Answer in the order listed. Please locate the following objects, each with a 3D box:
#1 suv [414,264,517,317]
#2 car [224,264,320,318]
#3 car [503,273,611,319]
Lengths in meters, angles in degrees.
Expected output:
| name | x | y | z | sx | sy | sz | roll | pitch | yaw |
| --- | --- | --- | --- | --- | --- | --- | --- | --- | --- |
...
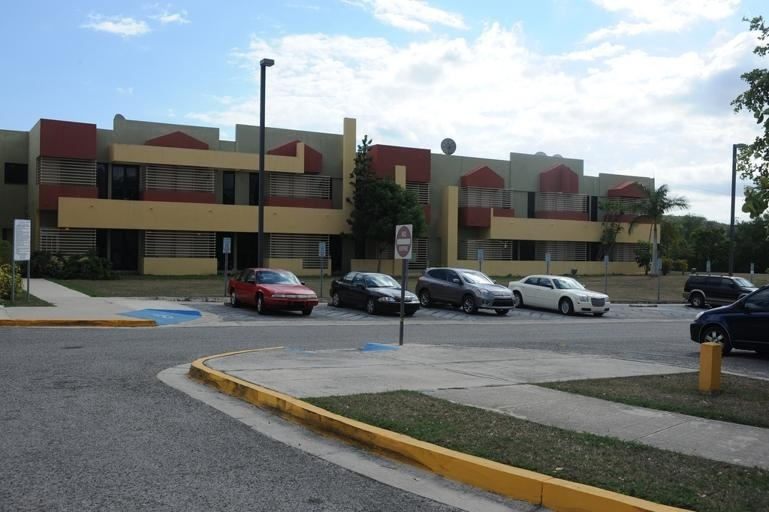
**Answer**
| name | x | y | z | sx | sy | sz | roll | pitch | yaw |
| --- | --- | --- | --- | --- | --- | --- | --- | --- | --- |
| suv | 3.573 | 1.484 | 28.807 | 1.875 | 1.591 | 3.957 | 2 | -1 | -38 |
| car | -4.335 | 1.352 | 25.517 | 1.760 | 1.638 | 3.817 | -3 | 5 | -39 |
| car | 7.895 | 1.759 | 30.343 | 2.000 | 1.260 | 4.310 | 3 | -2 | -32 |
